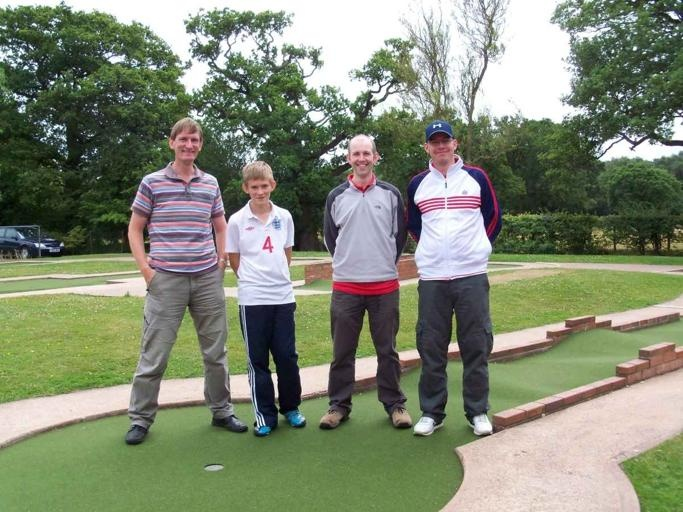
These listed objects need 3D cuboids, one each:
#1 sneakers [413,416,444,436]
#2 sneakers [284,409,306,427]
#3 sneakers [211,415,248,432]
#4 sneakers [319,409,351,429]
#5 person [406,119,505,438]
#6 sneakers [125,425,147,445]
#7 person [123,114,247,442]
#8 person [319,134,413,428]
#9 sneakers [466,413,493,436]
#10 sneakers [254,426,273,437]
[{"bbox_3d":[0.698,1.413,4.590,0.099,0.102,0.255,-7,-11,34],"label":"sneakers"},{"bbox_3d":[-0.408,1.424,4.843,0.183,0.097,0.226,-2,8,-4],"label":"sneakers"},{"bbox_3d":[-0.960,1.415,4.760,0.309,0.127,0.121,2,2,19],"label":"sneakers"},{"bbox_3d":[-0.060,1.409,4.791,0.109,0.105,0.288,26,6,31],"label":"sneakers"},{"bbox_3d":[0.927,0.141,4.721,0.784,2.568,0.815,1,9,15],"label":"person"},{"bbox_3d":[-1.654,1.428,4.482,0.151,0.112,0.232,-2,8,-7],"label":"sneakers"},{"bbox_3d":[-1.392,0.172,4.622,0.853,2.611,0.550,-5,9,-21],"label":"person"},{"bbox_3d":[0.200,0.203,4.815,0.743,2.458,0.660,-1,8,4],"label":"person"},{"bbox_3d":[1.141,1.393,4.560,0.102,0.090,0.228,-3,-6,-8],"label":"sneakers"},{"bbox_3d":[-0.656,1.462,4.635,0.118,0.040,0.071,8,-1,15],"label":"sneakers"}]
